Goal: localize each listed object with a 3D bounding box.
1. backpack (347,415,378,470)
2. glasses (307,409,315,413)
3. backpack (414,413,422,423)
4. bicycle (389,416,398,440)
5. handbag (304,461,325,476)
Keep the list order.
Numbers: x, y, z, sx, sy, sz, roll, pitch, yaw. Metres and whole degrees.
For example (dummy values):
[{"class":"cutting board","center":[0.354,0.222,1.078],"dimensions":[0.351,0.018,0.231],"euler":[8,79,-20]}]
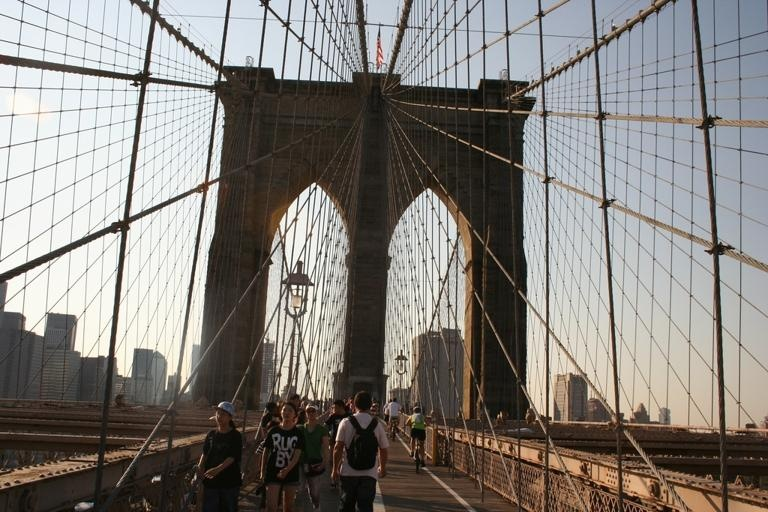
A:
[{"class":"backpack","center":[-0.239,1.975,7.072],"dimensions":[0.379,0.736,0.392],"euler":[3,-26,-5]},{"class":"glasses","center":[-1.028,2.059,9.035],"dimensions":[0.091,0.061,0.129],"euler":[4,-4,-9]},{"class":"backpack","center":[0.792,3.619,15.068],"dimensions":[0.178,0.205,0.136],"euler":[1,-2,-8]},{"class":"bicycle","center":[0.346,6.043,23.757],"dimensions":[0.434,0.654,0.978],"euler":[1,-13,-1]},{"class":"handbag","center":[-0.966,2.823,8.949],"dimensions":[0.183,0.127,0.280],"euler":[-1,-7,2]}]
